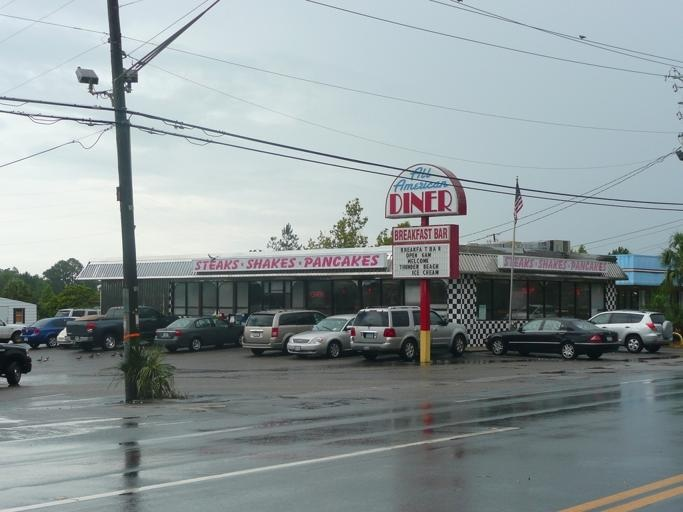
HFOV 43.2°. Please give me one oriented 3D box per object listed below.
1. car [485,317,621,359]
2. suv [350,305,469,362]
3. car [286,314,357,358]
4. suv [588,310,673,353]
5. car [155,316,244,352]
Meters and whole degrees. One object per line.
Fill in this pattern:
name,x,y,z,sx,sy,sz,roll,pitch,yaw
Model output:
car,9.382,3.325,35.113,5.335,1.678,3.892,2,-7,-39
suv,2.721,3.062,34.039,5.177,1.990,2.488,0,-4,-44
car,-0.746,3.138,33.487,2.502,1.667,1.177,3,-6,-41
suv,12.452,3.112,38.397,1.991,1.726,4.503,-12,7,-36
car,-6.420,3.484,38.909,1.863,1.332,4.174,0,2,44
